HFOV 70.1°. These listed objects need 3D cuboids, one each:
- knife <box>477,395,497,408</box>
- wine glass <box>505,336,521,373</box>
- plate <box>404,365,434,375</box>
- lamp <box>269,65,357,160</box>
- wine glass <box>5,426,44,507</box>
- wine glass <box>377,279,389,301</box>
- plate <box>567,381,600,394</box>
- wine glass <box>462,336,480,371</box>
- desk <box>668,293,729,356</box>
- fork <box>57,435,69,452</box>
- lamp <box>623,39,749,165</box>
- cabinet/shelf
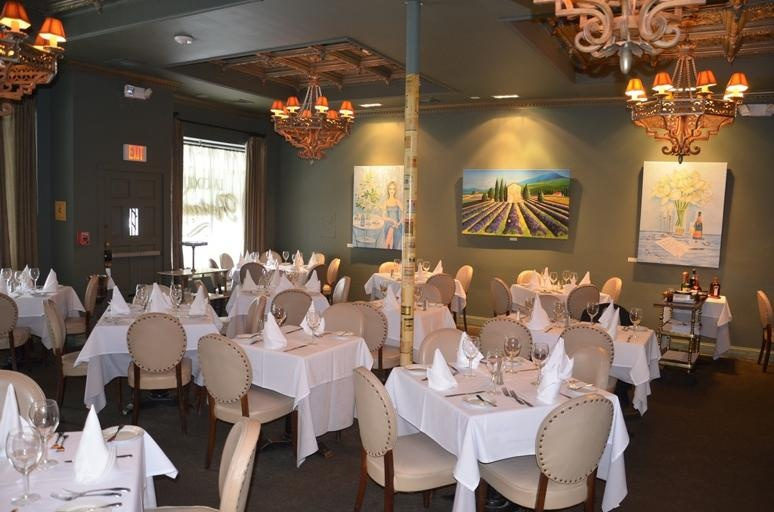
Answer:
[{"bbox_3d":[0.922,1.338,5.118,0.119,0.059,0.228,-2,2,-20],"label":"knife"},{"bbox_3d":[1.284,1.007,5.654,0.127,0.395,0.403,0,3,13],"label":"wine glass"},{"bbox_3d":[0.300,1.171,5.690,0.257,0.060,0.213,0,2,27],"label":"plate"},{"bbox_3d":[-1.332,-2.533,9.940,1.398,1.578,1.412,-1,5,-35],"label":"lamp"},{"bbox_3d":[-2.576,1.472,3.914,0.206,0.539,0.324,-4,4,-37],"label":"wine glass"},{"bbox_3d":[-0.080,0.625,10.503,0.281,0.451,0.303,1,-1,8],"label":"wine glass"},{"bbox_3d":[1.907,1.286,5.380,0.273,0.051,0.188,0,2,19],"label":"plate"},{"bbox_3d":[0.898,0.997,5.829,0.216,0.357,0.471,0,3,13],"label":"wine glass"},{"bbox_3d":[5.490,1.105,9.608,0.896,0.969,0.965,2,1,42],"label":"desk"},{"bbox_3d":[-2.581,1.487,4.388,0.049,0.030,0.162,6,9,-13],"label":"fork"},{"bbox_3d":[4.284,-2.220,8.006,1.492,1.591,1.581,2,9,12],"label":"lamp"},{"bbox_3d":[5.013,1.306,9.426,0.631,1.113,0.884,4,9,38],"label":"cabinet/shelf"}]
